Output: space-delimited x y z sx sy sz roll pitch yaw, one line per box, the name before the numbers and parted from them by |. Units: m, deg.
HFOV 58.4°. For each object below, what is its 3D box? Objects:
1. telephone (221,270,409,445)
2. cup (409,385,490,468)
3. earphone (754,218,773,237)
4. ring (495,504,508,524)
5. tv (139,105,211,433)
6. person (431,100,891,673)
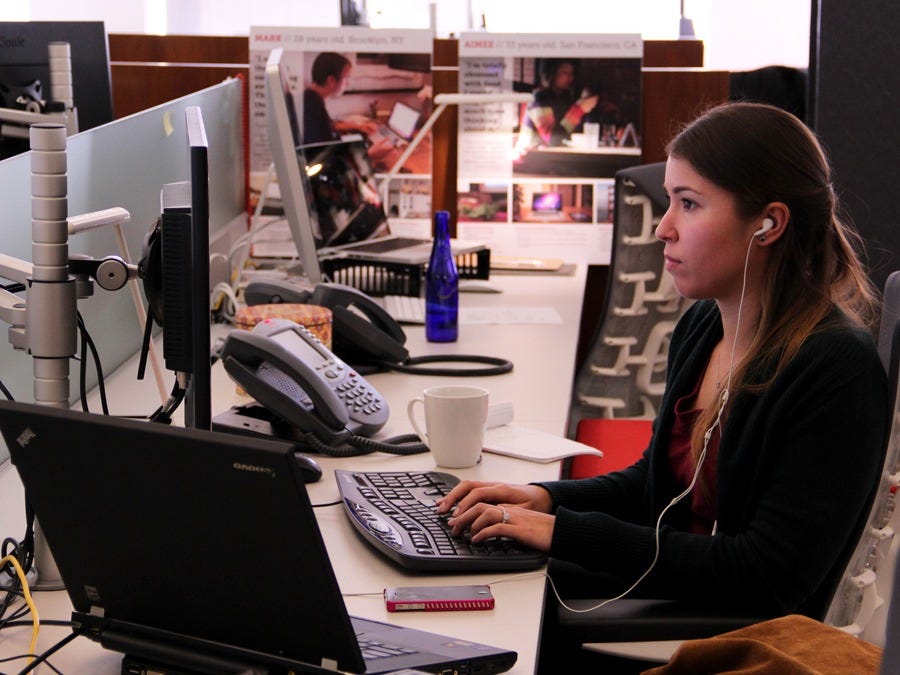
telephone | -0.249 0.064 1.471 0.311 0.155 0.375 11 17 0
cup | 0.000 0.152 1.377 0.139 0.132 0.116 -2 6 -12
earphone | 0.490 -0.167 1.223 0.022 0.026 0.030 -2 39 17
ring | 0.076 0.244 1.113 0.016 0.007 0.018 30 32 -52
tv | -0.366 -0.075 1.042 0.090 0.446 0.210 -1 12 -22
person | 0.289 0.086 1.548 0.768 0.956 0.842 1 5 9
